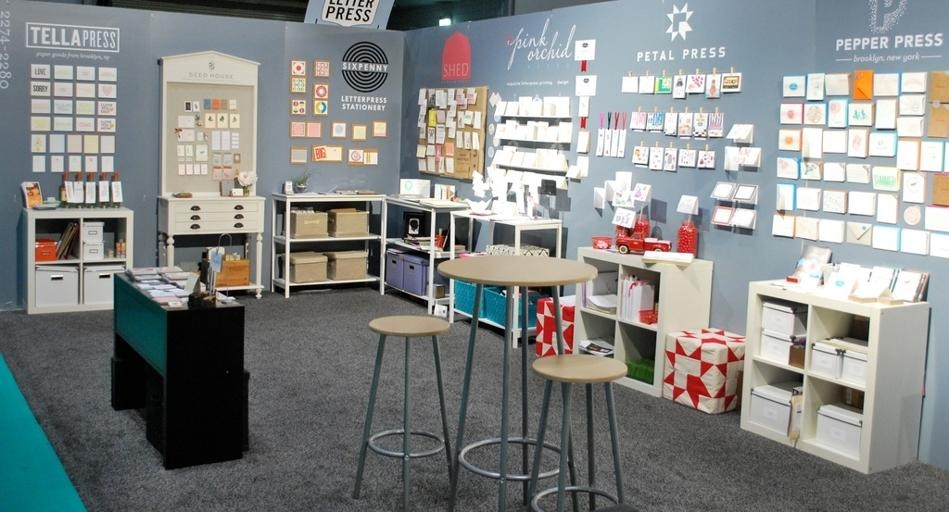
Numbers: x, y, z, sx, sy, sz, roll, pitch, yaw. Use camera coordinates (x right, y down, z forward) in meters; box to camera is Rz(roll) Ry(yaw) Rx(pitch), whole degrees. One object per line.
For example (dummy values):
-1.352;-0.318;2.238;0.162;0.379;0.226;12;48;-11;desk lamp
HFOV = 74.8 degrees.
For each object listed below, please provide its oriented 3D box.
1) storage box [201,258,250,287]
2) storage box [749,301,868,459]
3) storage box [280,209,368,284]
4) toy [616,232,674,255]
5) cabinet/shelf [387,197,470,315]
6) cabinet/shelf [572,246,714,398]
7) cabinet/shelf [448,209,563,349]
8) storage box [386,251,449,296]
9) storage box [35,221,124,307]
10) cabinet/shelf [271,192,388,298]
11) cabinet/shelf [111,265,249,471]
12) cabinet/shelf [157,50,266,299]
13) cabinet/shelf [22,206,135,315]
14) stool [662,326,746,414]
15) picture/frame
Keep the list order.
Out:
-3.495;0.193;8.795;0.588;0.426;0.602;1;3;27;storage box
2.985;1.109;5.519;0.482;1.287;1.364;4;1;-1;storage box
-2.228;-0.146;9.026;1.083;0.892;0.405;-2;9;-20;storage box
1.801;-0.133;6.759;0.434;0.180;0.262;3;3;9;toy
-0.604;0.014;8.312;0.555;1.458;1.555;-1;6;-30;cabinet/shelf
1.739;0.656;6.221;0.770;1.342;1.446;3;4;-27;cabinet/shelf
0.347;0.279;6.576;0.784;1.576;1.640;-1;6;-30;cabinet/shelf
-0.928;0.236;8.802;0.595;0.563;1.121;-1;7;-31;storage box
-5.043;0.127;7.861;1.139;1.040;0.424;-1;2;-22;storage box
-2.195;-0.164;9.093;1.600;1.327;0.559;-1;3;-25;cabinet/shelf
-2.716;0.960;5.644;0.691;1.315;1.641;-1;8;-41;cabinet/shelf
-3.650;-1.115;8.623;1.449;3.358;0.571;-5;13;-20;cabinet/shelf
-5.249;0.065;8.147;0.486;1.220;1.306;10;4;26;cabinet/shelf
2.267;1.077;6.287;0.766;0.712;0.757;-6;10;-43;stool
-2.080;-2.162;9.194;1.736;1.669;0.088;-1;1;-21;picture/frame
